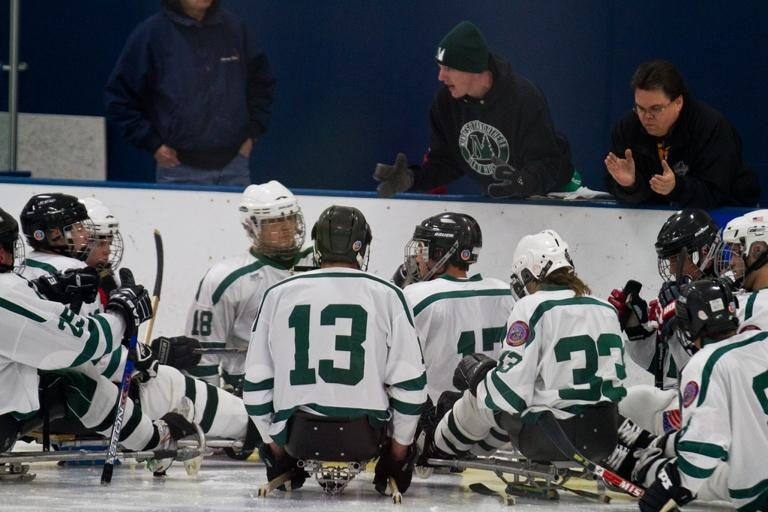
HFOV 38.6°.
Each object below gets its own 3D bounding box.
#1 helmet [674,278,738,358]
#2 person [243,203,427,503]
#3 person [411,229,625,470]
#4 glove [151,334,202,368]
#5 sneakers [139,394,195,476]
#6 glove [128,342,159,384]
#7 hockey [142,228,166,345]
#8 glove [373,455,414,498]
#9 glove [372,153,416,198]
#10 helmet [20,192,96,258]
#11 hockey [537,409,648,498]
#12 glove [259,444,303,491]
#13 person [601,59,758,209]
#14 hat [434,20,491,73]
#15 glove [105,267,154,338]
[{"bbox_3d":[1.925,0.351,6.562,0.337,0.410,0.411,-11,10,-4],"label":"helmet"},{"bbox_3d":[-0.290,0.685,7.193,1.138,1.886,1.051,1,-1,10],"label":"person"},{"bbox_3d":[0.888,0.682,7.632,1.023,1.599,1.787,3,-7,-33],"label":"person"},{"bbox_3d":[-1.443,0.667,7.597,0.211,0.113,0.293,13,6,29],"label":"glove"},{"bbox_3d":[-1.422,1.173,7.187,0.189,0.495,0.215,11,7,18],"label":"sneakers"},{"bbox_3d":[-1.582,0.700,7.275,0.182,0.232,0.237,-37,20,3],"label":"glove"},{"bbox_3d":[-1.695,0.213,8.085,0.123,0.922,0.039,7,21,-15],"label":"hockey"},{"bbox_3d":[0.071,1.377,6.997,0.196,0.289,0.272,2,19,2],"label":"glove"},{"bbox_3d":[0.090,-0.632,8.799,0.246,0.277,0.310,0,-1,20],"label":"glove"},{"bbox_3d":[-2.143,-0.206,7.252,0.447,0.432,0.375,1,3,-14],"label":"helmet"},{"bbox_3d":[1.257,1.263,6.856,0.554,0.150,0.547,46,10,-10],"label":"hockey"},{"bbox_3d":[-0.642,1.338,6.966,0.281,0.289,0.116,15,2,-19],"label":"glove"},{"bbox_3d":[2.289,-0.909,8.941,1.341,1.193,0.944,-9,5,-39],"label":"person"},{"bbox_3d":[0.606,-1.668,8.759,0.525,0.397,0.479,8,5,20],"label":"hat"},{"bbox_3d":[-1.625,0.324,7.050,0.290,0.421,0.193,11,-38,-8],"label":"glove"}]
